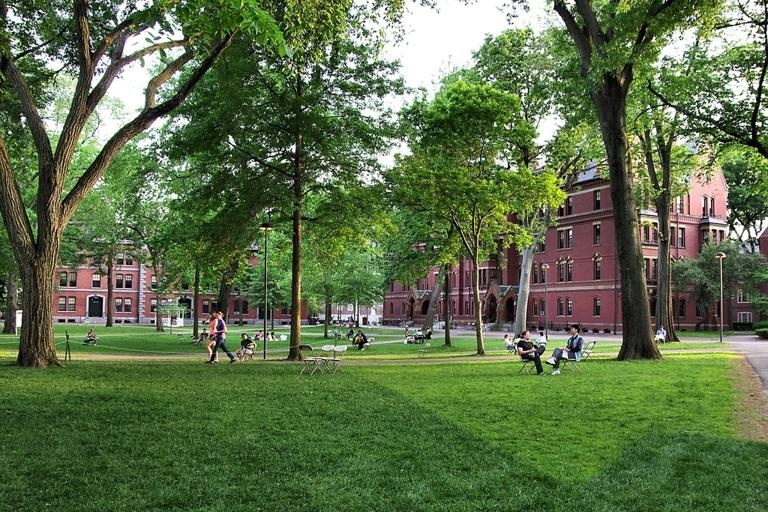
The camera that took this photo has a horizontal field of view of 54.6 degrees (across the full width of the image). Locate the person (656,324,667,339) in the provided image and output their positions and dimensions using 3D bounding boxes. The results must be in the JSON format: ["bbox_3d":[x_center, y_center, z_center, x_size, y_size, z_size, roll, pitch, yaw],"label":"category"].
[{"bbox_3d":[17.447,4.775,46.822,0.664,0.892,0.914,-8,-16,30],"label":"person"}]

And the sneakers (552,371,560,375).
[{"bbox_3d":[7.179,4.856,31.009,0.353,0.151,0.153,-1,-4,-4],"label":"sneakers"}]

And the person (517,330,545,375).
[{"bbox_3d":[6.432,4.159,32.277,0.817,1.849,1.131,-6,-2,-43],"label":"person"}]

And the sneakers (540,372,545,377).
[{"bbox_3d":[6.565,4.852,30.869,0.179,0.084,0.412,2,6,19],"label":"sneakers"}]

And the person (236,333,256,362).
[{"bbox_3d":[-7.063,4.556,37.712,1.021,1.096,1.671,1,2,1],"label":"person"}]
